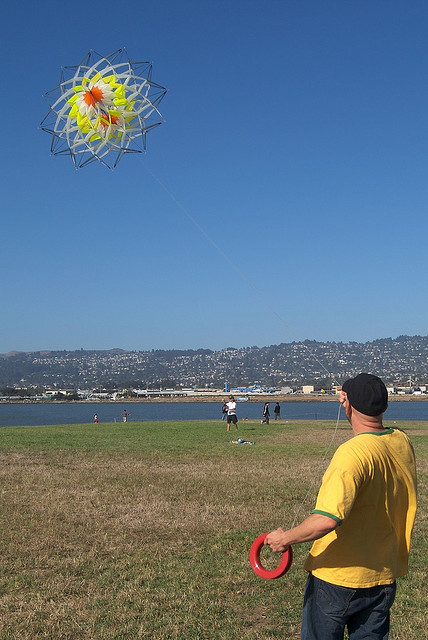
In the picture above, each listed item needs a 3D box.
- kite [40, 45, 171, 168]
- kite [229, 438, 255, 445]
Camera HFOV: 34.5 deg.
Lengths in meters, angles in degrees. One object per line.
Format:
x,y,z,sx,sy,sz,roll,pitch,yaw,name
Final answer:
-1.729,-2.947,10.435,2.343,0.934,2.242,-24,15,-13,kite
0.770,3.452,19.604,0.734,0.084,1.220,1,-6,2,kite
